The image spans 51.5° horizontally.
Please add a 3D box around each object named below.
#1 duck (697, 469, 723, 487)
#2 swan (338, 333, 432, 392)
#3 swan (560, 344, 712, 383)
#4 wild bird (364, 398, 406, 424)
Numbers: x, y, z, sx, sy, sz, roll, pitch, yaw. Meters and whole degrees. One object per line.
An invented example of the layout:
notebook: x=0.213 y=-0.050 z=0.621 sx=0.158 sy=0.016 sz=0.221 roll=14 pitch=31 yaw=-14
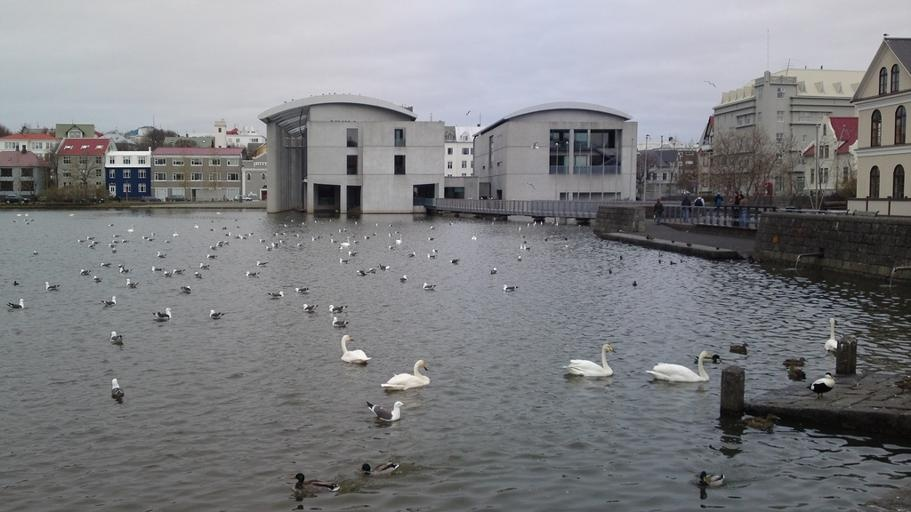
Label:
duck: x=8.751 y=7.653 z=32.476 sx=0.804 sy=0.482 sz=0.467 roll=0 pitch=-4 yaw=-42
swan: x=-2.847 y=4.173 z=37.686 sx=1.898 sy=1.503 sz=4.203 roll=-9 pitch=14 yaw=-39
swan: x=7.221 y=4.352 z=37.807 sx=6.583 sy=1.635 sz=1.366 roll=0 pitch=8 yaw=9
wild bird: x=-2.637 y=5.678 z=34.829 sx=1.255 sy=0.759 sz=0.655 roll=22 pitch=13 yaw=1
